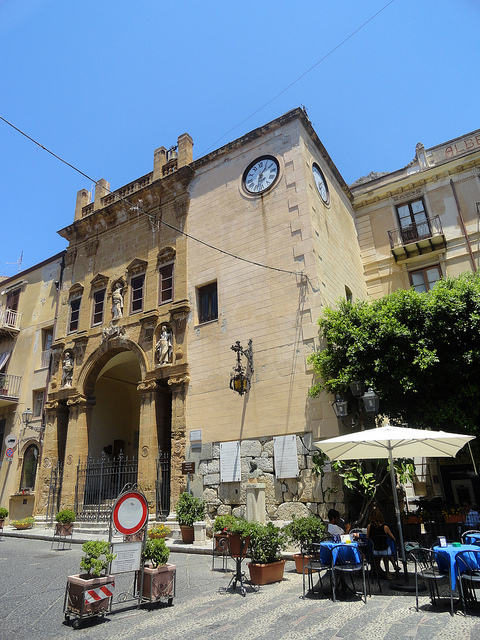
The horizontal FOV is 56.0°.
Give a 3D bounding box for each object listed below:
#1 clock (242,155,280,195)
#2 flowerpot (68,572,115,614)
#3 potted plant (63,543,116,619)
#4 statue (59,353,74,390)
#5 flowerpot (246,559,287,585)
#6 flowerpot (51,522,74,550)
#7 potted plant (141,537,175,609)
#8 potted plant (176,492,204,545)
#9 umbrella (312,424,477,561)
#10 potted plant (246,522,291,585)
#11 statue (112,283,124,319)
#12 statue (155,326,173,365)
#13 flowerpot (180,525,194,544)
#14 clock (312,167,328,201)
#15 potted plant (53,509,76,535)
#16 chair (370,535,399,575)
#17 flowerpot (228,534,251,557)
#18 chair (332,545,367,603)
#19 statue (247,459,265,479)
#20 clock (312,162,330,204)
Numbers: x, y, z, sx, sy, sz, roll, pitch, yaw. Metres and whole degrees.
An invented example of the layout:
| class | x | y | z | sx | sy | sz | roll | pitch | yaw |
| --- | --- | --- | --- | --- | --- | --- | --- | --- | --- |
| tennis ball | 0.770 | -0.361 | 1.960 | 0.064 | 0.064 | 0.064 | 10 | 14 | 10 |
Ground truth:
| class | x | y | z | sx | sy | sz | roll | pitch | yaw |
| --- | --- | --- | --- | --- | --- | --- | --- | --- | --- |
| clock | 0.733 | -4.946 | 15.464 | 1.639 | 1.670 | 0.141 | -5 | -13 | 41 |
| flowerpot | -1.974 | 3.540 | 5.832 | 0.375 | 0.410 | 0.491 | -8 | -24 | 30 |
| potted plant | -1.982 | 3.396 | 5.921 | 0.536 | 0.894 | 0.500 | -22 | -27 | 40 |
| statue | -7.455 | 2.175 | 19.320 | 0.869 | 1.700 | 0.319 | -21 | -27 | 39 |
| flowerpot | 0.478 | 4.294 | 7.806 | 0.553 | 0.253 | 0.392 | 13 | -23 | -35 |
| flowerpot | -5.194 | 6.182 | 13.094 | 0.411 | 0.734 | 0.479 | -30 | -51 | 32 |
| potted plant | -1.204 | 3.648 | 6.519 | 0.471 | 0.891 | 0.491 | 0 | -21 | -9 |
| potted plant | -1.415 | 5.609 | 12.788 | 0.832 | 1.217 | 0.868 | 0 | -23 | -3 |
| umbrella | 2.800 | 2.930 | 7.903 | 2.475 | 2.073 | 1.771 | -7 | -21 | 9 |
| potted plant | 0.416 | 4.093 | 7.957 | 0.609 | 0.888 | 0.742 | -18 | -28 | 39 |
| statue | -5.094 | -0.870 | 18.467 | 0.528 | 1.678 | 0.376 | -18 | -25 | 34 |
| statue | -2.754 | 0.885 | 16.138 | 0.742 | 1.478 | 0.243 | -16 | -24 | 30 |
| flowerpot | -1.480 | 5.864 | 12.371 | 0.242 | 0.481 | 0.573 | 15 | -28 | -41 |
| clock | 2.810 | -4.777 | 15.860 | 0.044 | 1.180 | 1.313 | -14 | -23 | 27 |
| potted plant | -5.262 | 6.021 | 13.437 | 0.675 | 0.753 | 0.731 | 7 | -30 | -11 |
| chair | 2.547 | 4.039 | 7.803 | 0.438 | 0.539 | 0.362 | 20 | -35 | -27 |
| flowerpot | -0.021 | 3.843 | 7.755 | 0.394 | 0.364 | 0.408 | -4 | -37 | 4 |
| chair | 1.624 | 3.802 | 6.898 | 0.528 | 0.847 | 0.557 | -5 | -11 | 20 |
| statue | 0.416 | 4.156 | 12.607 | 0.385 | 0.579 | 0.527 | 0 | -5 | 7 |
| clock | 2.857 | -4.851 | 15.943 | 0.131 | 1.426 | 1.672 | -13 | -22 | 24 |
